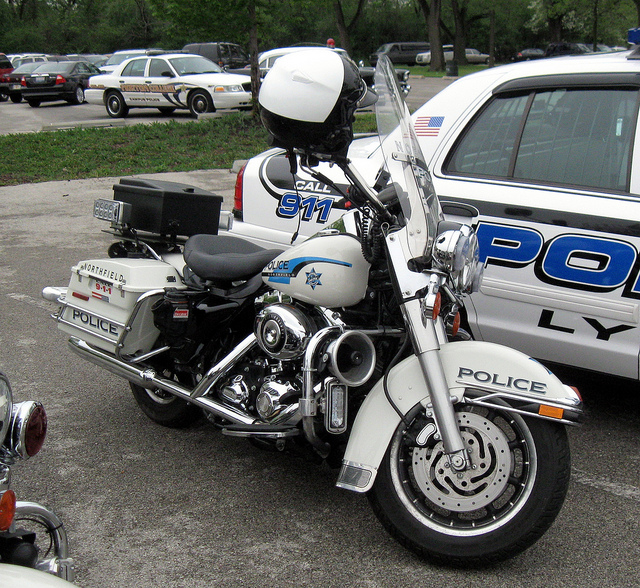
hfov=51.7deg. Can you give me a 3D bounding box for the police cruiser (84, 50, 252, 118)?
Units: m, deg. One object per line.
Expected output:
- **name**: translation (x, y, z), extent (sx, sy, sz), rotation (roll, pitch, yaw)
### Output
- **police cruiser**: translation (-4.601, -6.337, 19.906), extent (5.070, 1.631, 1.965), rotation (7, 22, 21)

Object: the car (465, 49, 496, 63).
- **car**: translation (11.299, -17.039, 47.649), extent (2.403, 0.909, 1.102), rotation (-7, 24, -13)

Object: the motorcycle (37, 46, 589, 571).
- **motorcycle**: translation (-0.196, -0.065, 3.356), extent (2.991, 1.865, 1.163), rotation (14, 11, 41)
